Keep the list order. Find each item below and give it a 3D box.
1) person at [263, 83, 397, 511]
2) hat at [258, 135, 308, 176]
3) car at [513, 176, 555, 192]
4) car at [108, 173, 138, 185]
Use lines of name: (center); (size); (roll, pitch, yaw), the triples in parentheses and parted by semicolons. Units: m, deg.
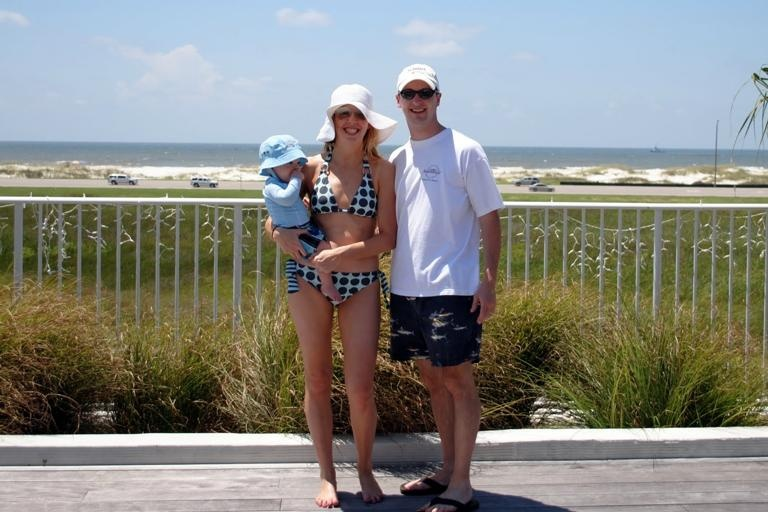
person: (-0.301, 0.251, 5.650); (0.823, 2.899, 0.506); (-1, 3, -7)
hat: (-0.729, -0.690, 5.703); (0.293, 0.190, 0.298); (-20, 7, -39)
car: (12.279, -5.779, 66.199); (3.221, 1.105, 1.521); (1, 9, 17)
car: (-23.504, -6.719, 71.533); (2.797, 1.179, 1.674); (-2, 15, -4)
